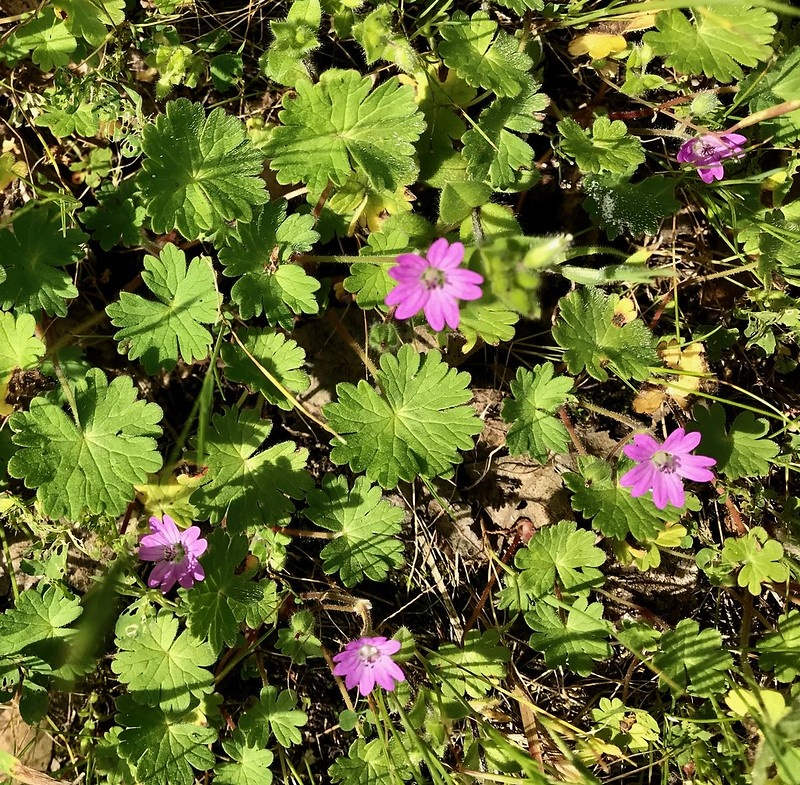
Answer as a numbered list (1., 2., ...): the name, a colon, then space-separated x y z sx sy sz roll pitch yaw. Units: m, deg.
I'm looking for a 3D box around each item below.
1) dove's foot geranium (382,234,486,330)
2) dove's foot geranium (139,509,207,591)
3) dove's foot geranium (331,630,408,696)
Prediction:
1. dove's foot geranium: 0.135 -0.409 2.798 0.363 0.311 0.215 -1 52 1
2. dove's foot geranium: -0.984 0.738 3.263 0.090 0.409 0.437 33 73 -20
3. dove's foot geranium: -0.129 1.146 3.133 0.285 0.204 0.202 4 53 5
